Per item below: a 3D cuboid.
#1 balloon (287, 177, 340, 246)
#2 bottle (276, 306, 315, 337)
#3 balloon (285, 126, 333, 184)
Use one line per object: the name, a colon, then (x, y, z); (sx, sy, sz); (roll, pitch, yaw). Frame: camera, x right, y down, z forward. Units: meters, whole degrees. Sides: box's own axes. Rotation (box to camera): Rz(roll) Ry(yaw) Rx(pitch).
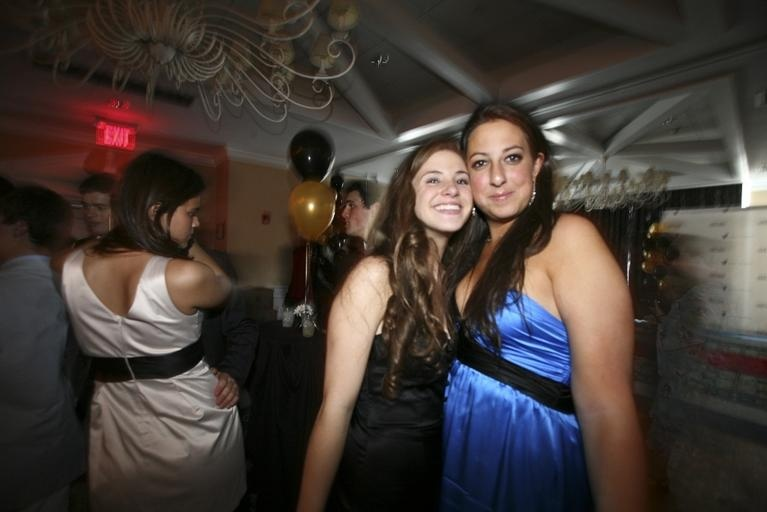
balloon: (-0.717, -0.461, 4.985); (0.494, 0.710, 0.540); (2, -6, -5)
bottle: (-0.867, 0.606, 4.838); (0.178, 0.255, 0.586); (2, 7, -34)
balloon: (-0.720, -1.011, 4.760); (0.439, 0.412, 0.504); (5, -33, -6)
